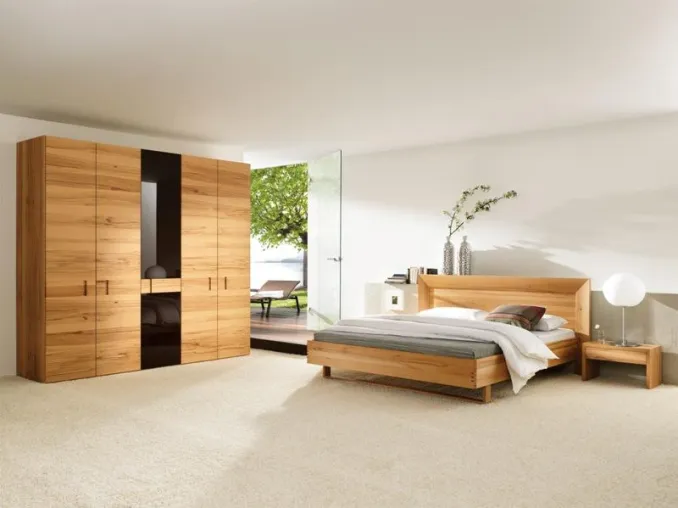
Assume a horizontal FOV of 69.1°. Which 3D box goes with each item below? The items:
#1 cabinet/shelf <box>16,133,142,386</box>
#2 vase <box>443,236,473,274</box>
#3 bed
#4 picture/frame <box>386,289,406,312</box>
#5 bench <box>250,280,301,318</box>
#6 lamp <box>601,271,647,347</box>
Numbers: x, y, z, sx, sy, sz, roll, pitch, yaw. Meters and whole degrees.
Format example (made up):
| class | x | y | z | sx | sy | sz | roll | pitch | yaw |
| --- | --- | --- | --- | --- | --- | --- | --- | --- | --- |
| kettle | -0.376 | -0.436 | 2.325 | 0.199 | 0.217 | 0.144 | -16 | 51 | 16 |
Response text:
| class | x | y | z | sx | sy | sz | roll | pitch | yaw |
| --- | --- | --- | --- | --- | --- | --- | --- | --- | --- |
| cabinet/shelf | -2.915 | 0.059 | 5.594 | 1.288 | 2.647 | 0.565 | -1 | 2 | -25 |
| vase | 1.560 | 0.017 | 6.569 | 0.354 | 0.500 | 0.263 | 0 | 2 | 19 |
| bed | 1.244 | 0.824 | 5.609 | 2.287 | 1.097 | 2.113 | 1 | 1 | 39 |
| picture/frame | 0.799 | 0.644 | 6.948 | 0.417 | 0.356 | 0.057 | -1 | 1 | 34 |
| bench | -1.532 | 0.889 | 10.374 | 1.172 | 0.506 | 1.084 | 4 | 10 | 20 |
| lamp | 3.070 | 0.590 | 5.341 | 0.408 | 0.767 | 0.387 | 1 | 2 | 28 |
